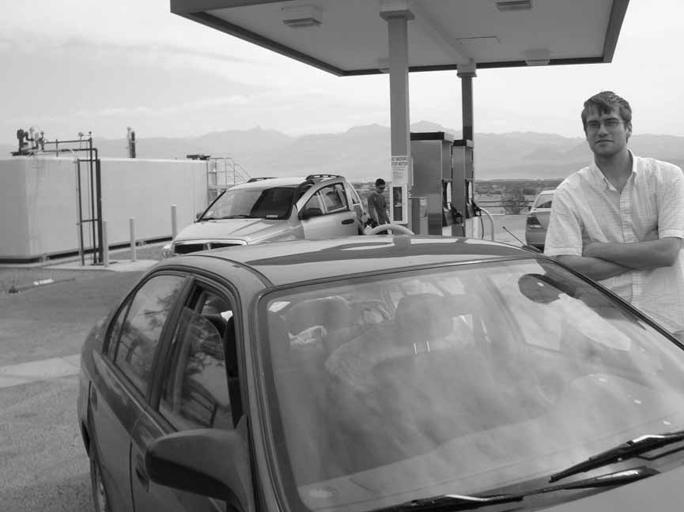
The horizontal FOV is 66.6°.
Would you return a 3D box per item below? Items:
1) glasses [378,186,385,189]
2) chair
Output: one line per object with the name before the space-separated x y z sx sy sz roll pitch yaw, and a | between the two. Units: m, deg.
glasses | 1.210 -2.054 15.789 0.124 0.104 0.137 1 6 15
chair | 0.175 0.376 1.757 0.875 0.462 0.616 -5 8 -15
